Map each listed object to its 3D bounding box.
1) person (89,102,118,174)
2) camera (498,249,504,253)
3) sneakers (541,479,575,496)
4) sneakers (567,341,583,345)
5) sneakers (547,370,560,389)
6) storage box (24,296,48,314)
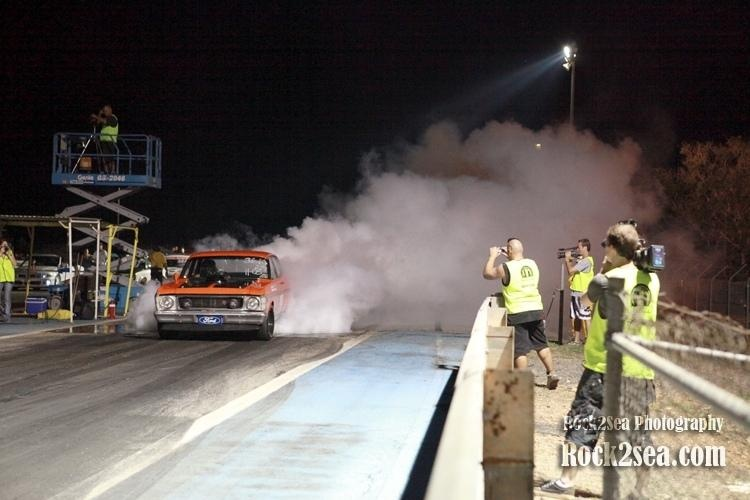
[{"bbox_3d":[-8.744,-3.523,19.310,0.761,2.067,1.419,-2,4,-24],"label":"person"},{"bbox_3d":[1.863,-0.002,8.683,0.058,0.059,0.015,-4,6,13],"label":"camera"},{"bbox_3d":[1.697,2.180,5.569,0.355,0.165,0.127,3,-3,8],"label":"sneakers"},{"bbox_3d":[4.225,1.948,12.501,0.298,0.142,0.106,0,0,0],"label":"sneakers"},{"bbox_3d":[2.513,1.829,8.356,0.120,0.167,0.274,-2,-6,-1],"label":"sneakers"},{"bbox_3d":[-8.824,1.421,15.520,0.463,0.505,0.417,3,-4,-18],"label":"storage box"}]
